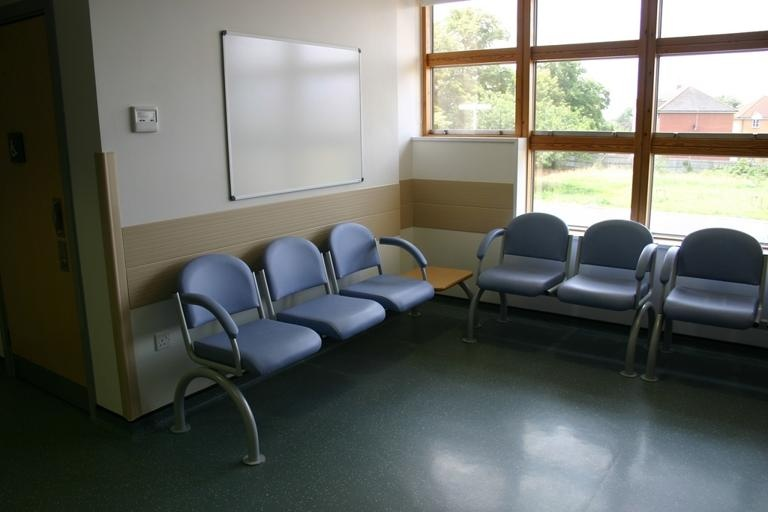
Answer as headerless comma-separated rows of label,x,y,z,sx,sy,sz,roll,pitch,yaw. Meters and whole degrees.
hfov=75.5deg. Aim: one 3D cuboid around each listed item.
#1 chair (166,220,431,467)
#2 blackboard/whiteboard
chair,-0.731,0.715,3.907,0.635,0.728,1.584,8,16,27
blackboard/whiteboard,-0.843,-1.252,4.356,0.057,1.313,1.699,4,8,38
